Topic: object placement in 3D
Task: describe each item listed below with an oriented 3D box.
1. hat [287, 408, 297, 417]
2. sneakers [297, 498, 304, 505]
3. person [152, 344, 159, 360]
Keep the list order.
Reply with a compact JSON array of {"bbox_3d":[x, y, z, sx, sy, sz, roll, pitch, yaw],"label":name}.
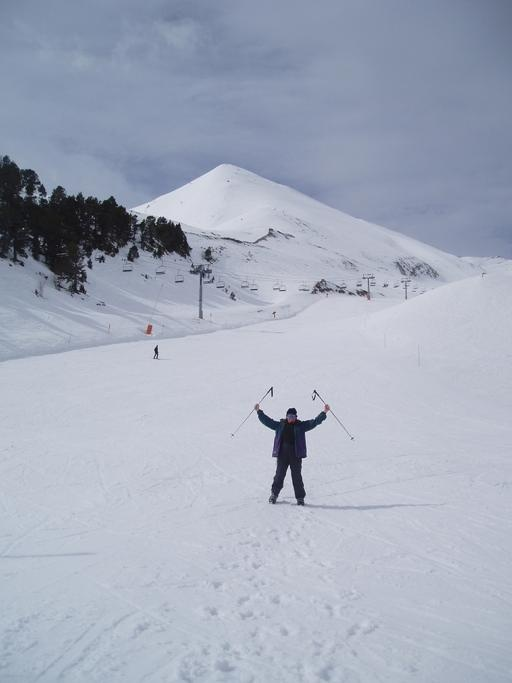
[{"bbox_3d":[0.654,1.298,11.587,0.149,0.159,0.157,0,13,12],"label":"hat"},{"bbox_3d":[0.805,2.860,11.583,0.126,0.055,0.161,1,6,2],"label":"sneakers"},{"bbox_3d":[-4.443,0.537,29.084,0.244,0.685,0.902,-1,9,-10],"label":"person"}]
